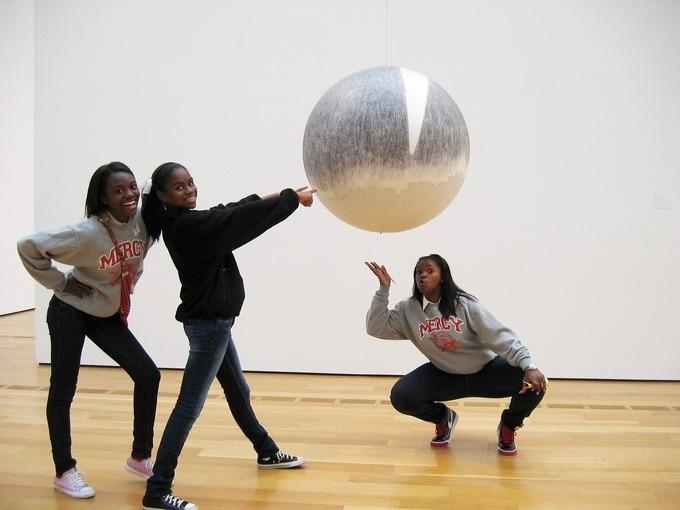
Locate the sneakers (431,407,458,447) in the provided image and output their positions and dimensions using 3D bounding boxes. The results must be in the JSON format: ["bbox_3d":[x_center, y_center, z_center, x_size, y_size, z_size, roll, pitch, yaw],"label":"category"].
[{"bbox_3d":[0.596,0.974,3.028,0.090,0.278,0.118,-8,-49,44],"label":"sneakers"}]

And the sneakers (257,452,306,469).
[{"bbox_3d":[-0.305,1.070,2.737,0.242,0.113,0.093,0,-3,-3],"label":"sneakers"}]

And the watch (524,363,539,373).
[{"bbox_3d":[1.000,0.588,2.715,0.048,0.016,0.053,-26,-31,-8],"label":"watch"}]

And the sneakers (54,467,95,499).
[{"bbox_3d":[-1.261,1.091,2.515,0.237,0.115,0.090,2,-4,28],"label":"sneakers"}]

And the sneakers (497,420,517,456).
[{"bbox_3d":[0.929,1.018,2.887,0.094,0.126,0.273,6,3,15],"label":"sneakers"}]
